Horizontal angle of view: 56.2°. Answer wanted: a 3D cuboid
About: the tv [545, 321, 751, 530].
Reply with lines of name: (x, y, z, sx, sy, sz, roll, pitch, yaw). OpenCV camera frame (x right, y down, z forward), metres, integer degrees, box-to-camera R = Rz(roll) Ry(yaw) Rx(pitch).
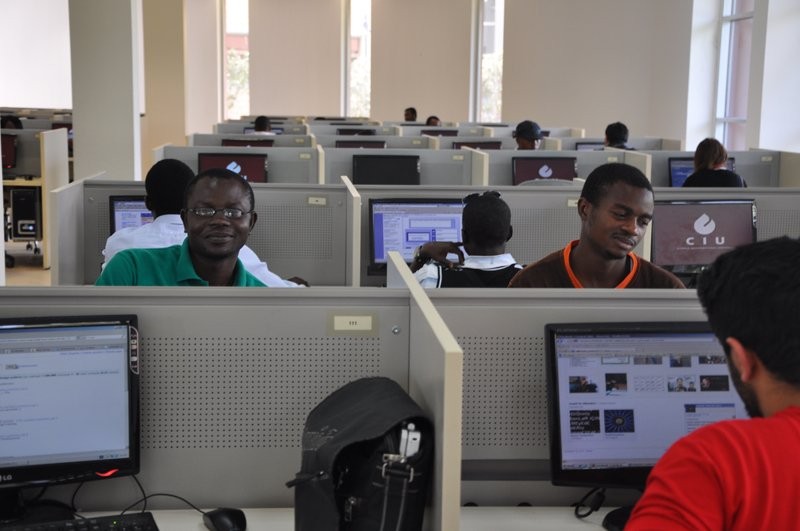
tv: (0.605, 0.364, 1.816, 0.637, 0.562, 0.221, -1, 0, -3)

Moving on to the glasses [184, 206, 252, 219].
glasses: (-0.611, -0.178, 2.518, 0.189, 0.044, 0.046, -2, 8, -17)

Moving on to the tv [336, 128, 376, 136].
tv: (-0.485, -1.498, 8.336, 0.418, 0.061, 0.215, -1, 8, -10)

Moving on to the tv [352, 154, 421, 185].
tv: (-0.098, -0.682, 5.265, 0.486, 0.197, 0.085, 0, 8, -5)

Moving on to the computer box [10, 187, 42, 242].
computer box: (-3.900, -0.550, 7.805, 0.333, 0.541, 0.204, -1, 8, -9)

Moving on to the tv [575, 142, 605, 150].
tv: (1.892, -1.205, 7.470, 0.264, 0.073, 0.135, 5, 9, 33)

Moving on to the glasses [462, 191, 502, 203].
glasses: (0.346, -0.291, 3.175, 0.127, 0.035, 0.127, -5, 0, -6)

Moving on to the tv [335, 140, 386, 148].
tv: (-0.352, -1.101, 6.727, 0.458, 0.053, 0.089, -1, 8, -6)

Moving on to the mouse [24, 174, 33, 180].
mouse: (-3.998, -0.959, 8.057, 0.063, 0.041, 0.060, 1, 4, -21)

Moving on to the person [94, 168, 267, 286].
person: (-0.779, -0.071, 2.634, 0.756, 0.425, 0.375, 6, 1, -27)

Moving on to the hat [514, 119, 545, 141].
hat: (1.114, -1.195, 6.665, 0.294, 0.143, 0.230, 7, 14, 41)

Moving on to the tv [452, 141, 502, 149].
tv: (0.742, -1.091, 6.745, 0.553, 0.074, 0.275, -4, 9, -29)

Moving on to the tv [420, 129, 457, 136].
tv: (0.463, -1.541, 8.606, 0.539, 0.073, 0.174, -5, 9, -33)

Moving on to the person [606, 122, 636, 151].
person: (1.996, -1.199, 6.890, 0.206, 0.256, 0.844, 2, 8, 14)
